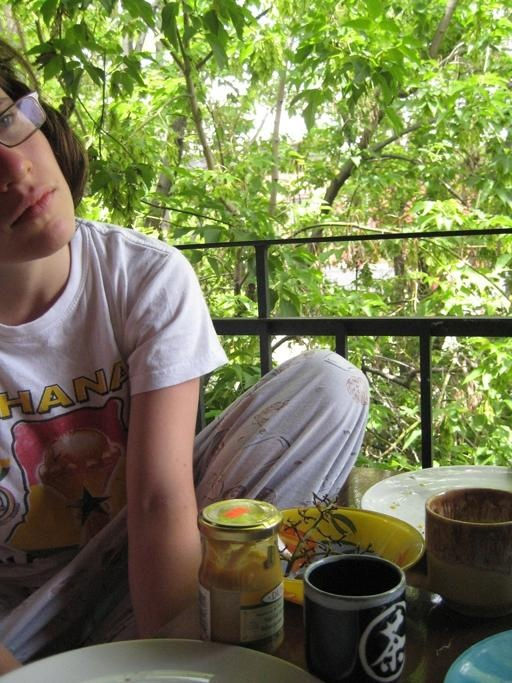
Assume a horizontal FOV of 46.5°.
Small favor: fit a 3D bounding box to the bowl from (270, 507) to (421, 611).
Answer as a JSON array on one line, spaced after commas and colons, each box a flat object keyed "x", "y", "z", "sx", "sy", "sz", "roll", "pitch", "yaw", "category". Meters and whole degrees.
[{"x": 0.095, "y": 0.215, "z": 0.661, "sx": 0.130, "sy": 0.113, "sz": 0.113, "roll": 0, "pitch": 2, "yaw": 42, "category": "bowl"}]
